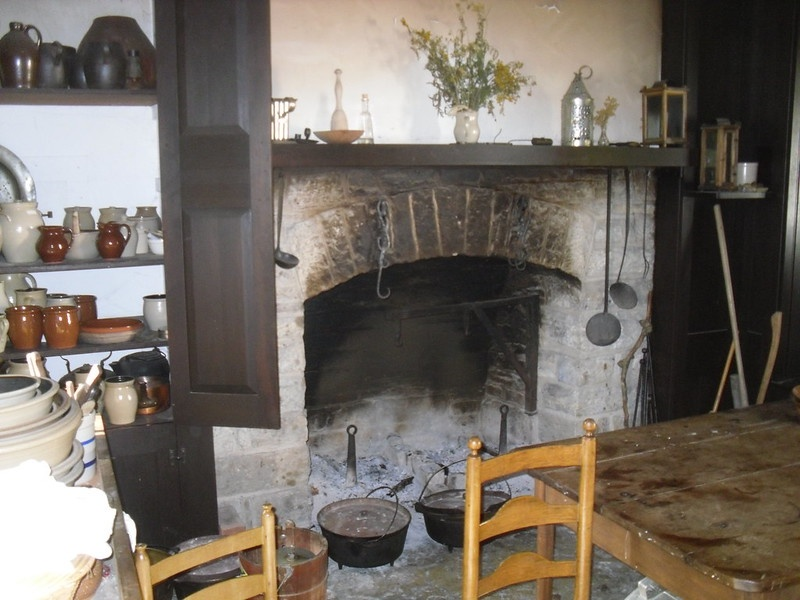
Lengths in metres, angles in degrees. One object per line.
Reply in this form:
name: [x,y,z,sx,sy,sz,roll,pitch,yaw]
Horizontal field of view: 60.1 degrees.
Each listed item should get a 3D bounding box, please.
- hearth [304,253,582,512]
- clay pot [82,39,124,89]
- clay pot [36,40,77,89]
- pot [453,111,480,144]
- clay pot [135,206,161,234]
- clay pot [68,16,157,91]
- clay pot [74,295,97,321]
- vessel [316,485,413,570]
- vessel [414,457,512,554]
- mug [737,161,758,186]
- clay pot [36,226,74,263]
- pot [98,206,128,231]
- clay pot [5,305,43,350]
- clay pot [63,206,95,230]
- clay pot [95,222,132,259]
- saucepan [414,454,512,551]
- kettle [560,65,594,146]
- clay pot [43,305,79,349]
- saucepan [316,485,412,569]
hearth: [0.183,0.386,3.454,1.215,1.104,0.599,-5,10,-26]
clay pot: [-1.096,-0.866,2.564,0.146,0.172,0.184,-9,19,-39]
clay pot: [-1.276,-0.860,2.575,0.153,0.176,0.187,-4,10,-41]
pot: [0.283,-0.741,2.960,0.132,0.126,0.130,0,7,0]
clay pot: [-1.015,-0.321,2.820,0.118,0.107,0.115,0,0,0]
clay pot: [-1.062,-0.903,2.686,0.324,0.289,0.312,-1,3,0]
clay pot: [-1.269,0.028,2.786,0.102,0.106,0.099,0,1,0]
vessel: [-0.163,0.998,3.041,0.367,0.283,0.375,0,9,-12]
vessel: [0.284,0.950,3.260,0.487,0.426,0.434,-2,8,-11]
mug: [1.715,-0.620,3.419,0.125,0.130,0.126,3,6,36]
clay pot: [-1.293,-0.207,2.573,0.146,0.132,0.111,0,8,-17]
pot: [-1.143,-0.322,2.739,0.102,0.094,0.101,2,5,0]
clay pot: [-1.385,0.092,2.610,0.160,0.172,0.153,3,10,0]
clay pot: [-1.245,-0.316,2.691,0.111,0.105,0.108,2,7,0]
clay pot: [-1.116,-0.231,2.673,0.150,0.138,0.110,-2,5,-31]
saucepan: [0.282,0.946,3.303,0.488,0.434,0.434,-2,8,-12]
kettle: [0.841,-0.924,3.274,0.152,0.407,0.416,-1,10,15]
clay pot: [-1.273,0.088,2.632,0.157,0.168,0.151,2,12,-1]
saucepan: [-0.167,1.002,3.034,0.367,0.241,0.374,-1,8,-17]
